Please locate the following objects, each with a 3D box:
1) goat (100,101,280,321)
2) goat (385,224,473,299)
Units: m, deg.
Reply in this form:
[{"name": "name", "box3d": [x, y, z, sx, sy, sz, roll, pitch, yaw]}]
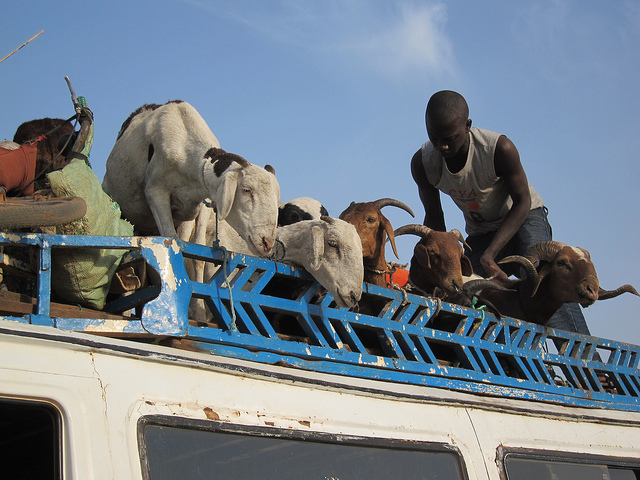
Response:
[{"name": "goat", "box3d": [-1.084, -0.462, 8.849, 0.715, 1.264, 2.291, 5, 10, -34]}, {"name": "goat", "box3d": [1.029, 0.206, 9.267, 0.718, 0.930, 0.615, 5, 0, -22]}]
